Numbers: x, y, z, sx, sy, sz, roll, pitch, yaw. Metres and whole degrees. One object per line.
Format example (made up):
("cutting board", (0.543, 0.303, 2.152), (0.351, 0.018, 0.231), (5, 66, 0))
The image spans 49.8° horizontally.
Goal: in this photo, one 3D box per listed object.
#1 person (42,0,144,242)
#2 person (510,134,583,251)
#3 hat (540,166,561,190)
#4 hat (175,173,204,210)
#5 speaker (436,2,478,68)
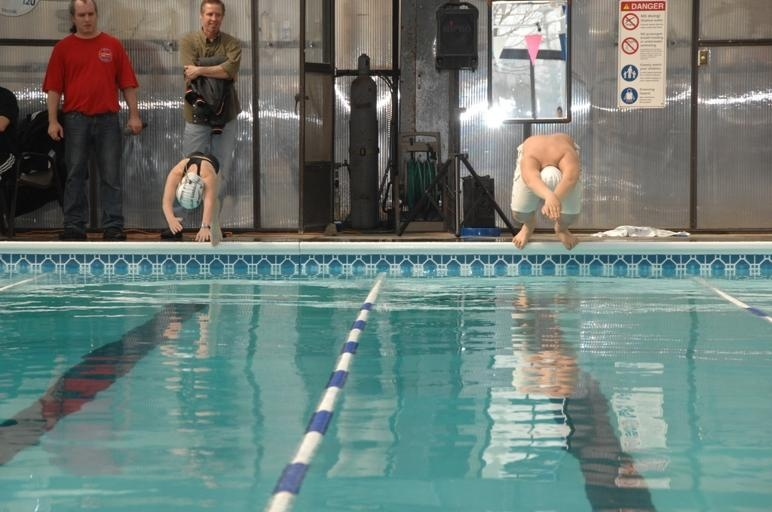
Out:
("person", (-2.849, -1.327, 8.127), (0.852, 2.243, 0.605), (-6, 13, -23))
("person", (1.414, -0.521, 7.298), (0.586, 1.029, 0.954), (1, 13, 10))
("hat", (1.435, -0.668, 7.210), (0.174, 0.183, 0.174), (2, 13, 10))
("hat", (-1.718, -0.573, 7.327), (0.242, 0.308, 0.265), (-5, 13, -18))
("speaker", (0.745, -2.275, 8.686), (0.425, 0.655, 0.175), (-2, 12, -8))
